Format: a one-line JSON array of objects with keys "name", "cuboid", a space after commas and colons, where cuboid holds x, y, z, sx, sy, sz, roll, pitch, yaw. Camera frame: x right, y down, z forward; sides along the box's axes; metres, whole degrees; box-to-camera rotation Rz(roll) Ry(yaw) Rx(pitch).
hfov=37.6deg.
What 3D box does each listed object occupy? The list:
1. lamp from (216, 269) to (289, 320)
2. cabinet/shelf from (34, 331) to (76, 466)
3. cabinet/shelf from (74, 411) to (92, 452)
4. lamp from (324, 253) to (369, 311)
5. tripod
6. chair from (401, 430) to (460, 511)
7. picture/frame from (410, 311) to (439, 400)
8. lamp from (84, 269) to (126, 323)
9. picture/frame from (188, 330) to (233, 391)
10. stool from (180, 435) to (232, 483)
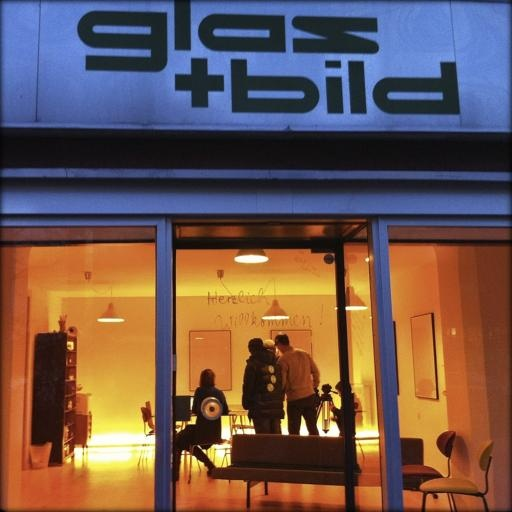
[{"name": "lamp", "cuboid": [-0.006, 0.322, 6.121, 0.575, 0.562, 0.247, -7, -6, -19]}, {"name": "cabinet/shelf", "cuboid": [-1.265, 0.886, 4.703, 0.270, 0.789, 0.305, 2, -14, -15]}, {"name": "cabinet/shelf", "cuboid": [-1.166, 1.151, 5.025, 0.108, 0.246, 0.382, 6, -8, -4]}, {"name": "lamp", "cuboid": [0.624, 0.184, 5.307, 0.273, 0.384, 0.318, 0, -8, 0]}, {"name": "tripod", "cuboid": [0.610, 1.248, 5.812, 0.222, 0.466, 0.286, -16, -14, 29]}, {"name": "chair", "cuboid": [1.078, 1.431, 4.975, 0.359, 0.538, 0.376, 6, -22, -13]}, {"name": "picture/frame", "cuboid": [1.115, 0.659, 5.010, 0.231, 0.586, 0.054, 8, -16, -35]}, {"name": "lamp", "cuboid": [-0.962, 0.261, 4.781, 0.260, 0.339, 0.184, 0, -14, -6]}, {"name": "picture/frame", "cuboid": [-0.392, 0.883, 6.337, 0.363, 0.636, 0.016, 0, 28, -4]}, {"name": "stool", "cuboid": [-0.488, 2.085, 7.882, 0.633, 0.556, 0.485, 1, -8, -8]}]
